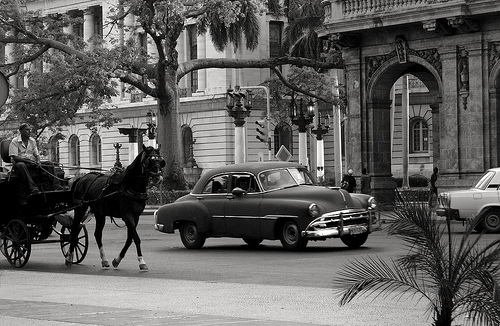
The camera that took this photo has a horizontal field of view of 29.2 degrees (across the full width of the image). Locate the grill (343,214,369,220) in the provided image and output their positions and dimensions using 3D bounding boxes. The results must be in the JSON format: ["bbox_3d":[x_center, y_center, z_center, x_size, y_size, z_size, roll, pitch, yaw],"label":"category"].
[{"bbox_3d":[3.280,1.688,29.706,1.005,0.155,0.079,0,-2,-38],"label":"grill"}]

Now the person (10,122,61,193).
[{"bbox_3d":[-6.315,-0.155,27.670,1.261,2.021,0.952,-1,-1,-22],"label":"person"}]

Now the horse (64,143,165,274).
[{"bbox_3d":[-3.942,1.367,27.754,4.317,3.591,1.483,-2,-5,45],"label":"horse"}]

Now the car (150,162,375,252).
[{"bbox_3d":[0.505,1.424,30.845,5.378,1.834,3.165,-3,-4,32],"label":"car"}]
